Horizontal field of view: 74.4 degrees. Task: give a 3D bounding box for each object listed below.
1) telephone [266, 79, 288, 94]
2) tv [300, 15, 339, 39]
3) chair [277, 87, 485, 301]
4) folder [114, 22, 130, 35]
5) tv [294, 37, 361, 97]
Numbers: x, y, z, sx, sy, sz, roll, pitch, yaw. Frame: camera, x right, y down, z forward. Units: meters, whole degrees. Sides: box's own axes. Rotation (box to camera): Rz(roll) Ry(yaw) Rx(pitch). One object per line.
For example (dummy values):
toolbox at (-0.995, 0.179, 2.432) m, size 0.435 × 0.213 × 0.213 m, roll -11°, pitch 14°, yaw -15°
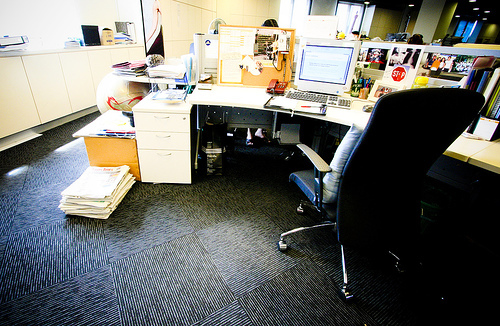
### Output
telephone at (0.293, -0.835, 3.638) m, size 0.214 × 0.066 × 0.193 m, roll 13°, pitch 51°, yaw 8°
tv at (0.771, -1.507, 3.640) m, size 0.515 × 0.308 × 0.100 m, roll 10°, pitch 15°, yaw 18°
chair at (1.056, 0.130, 3.012) m, size 1.280 × 1.700 × 1.304 m, roll -3°, pitch 23°, yaw -8°
folder at (-2.284, -2.412, 5.883) m, size 0.087 × 0.202 × 0.231 m, roll 21°, pitch 32°, yaw 28°
tv at (0.823, -1.019, 3.511) m, size 0.614 × 0.472 × 0.314 m, roll 11°, pitch 35°, yaw 9°
